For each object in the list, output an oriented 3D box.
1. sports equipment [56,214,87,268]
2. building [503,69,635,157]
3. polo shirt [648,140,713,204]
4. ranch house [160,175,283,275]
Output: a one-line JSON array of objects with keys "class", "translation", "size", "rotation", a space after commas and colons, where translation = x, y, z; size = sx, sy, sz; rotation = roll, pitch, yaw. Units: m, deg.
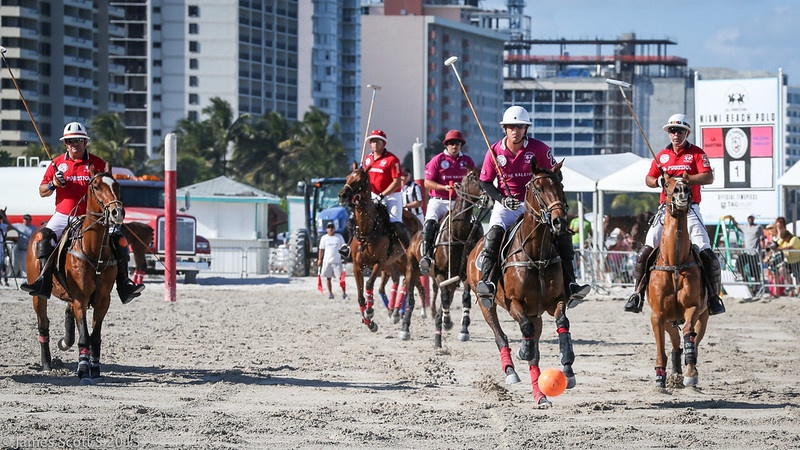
[{"class": "sports equipment", "translation": [-15.655, 0.597, 70.775], "size": [0.783, 3.154, 1.045], "rotation": [20, -4, 4]}, {"class": "building", "translation": [26.368, -16.363, 242.257], "size": [16.386, 11.983, 9.892], "rotation": [0, -20, 6]}, {"class": "polo shirt", "translation": [13.363, -2.484, 71.273], "size": [3.230, 3.162, 1.625], "rotation": [2, 2, 32]}, {"class": "ranch house", "translation": [-11.730, 0.017, 99.487], "size": [5.224, 5.733, 6.477], "rotation": [0, -3, -7]}]
